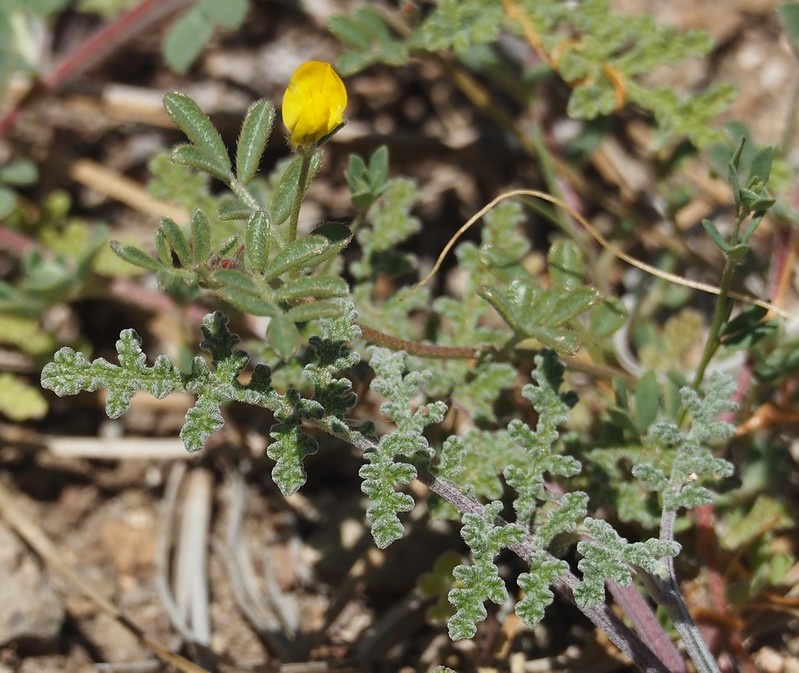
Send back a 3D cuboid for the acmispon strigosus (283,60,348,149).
[{"bbox_3d":[-0.184,-0.489,1.952,0.131,0.173,0.110,-5,14,12],"label":"acmispon strigosus"}]
